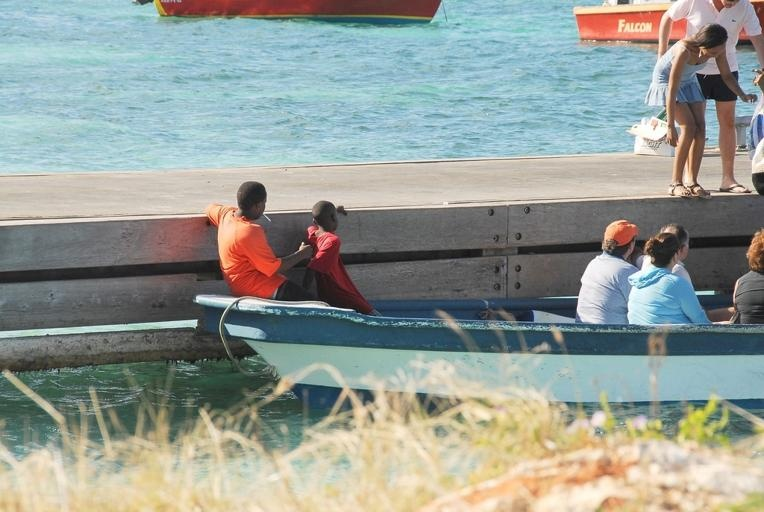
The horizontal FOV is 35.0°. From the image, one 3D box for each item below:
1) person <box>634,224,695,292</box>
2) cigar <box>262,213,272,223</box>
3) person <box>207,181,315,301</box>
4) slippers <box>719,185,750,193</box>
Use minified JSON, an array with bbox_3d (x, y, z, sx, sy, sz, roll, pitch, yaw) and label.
[{"bbox_3d":[3.069,0.015,13.347,0.857,0.858,0.310,13,45,29],"label":"person"},{"bbox_3d":[-1.307,-0.426,13.847,0.068,0.102,0.027,-43,2,-13],"label":"cigar"},{"bbox_3d":[-1.356,-0.104,13.622,1.022,1.098,1.214,-26,36,-30],"label":"person"},{"bbox_3d":[4.302,-0.810,14.862,0.347,0.061,0.119,1,8,19],"label":"slippers"}]
